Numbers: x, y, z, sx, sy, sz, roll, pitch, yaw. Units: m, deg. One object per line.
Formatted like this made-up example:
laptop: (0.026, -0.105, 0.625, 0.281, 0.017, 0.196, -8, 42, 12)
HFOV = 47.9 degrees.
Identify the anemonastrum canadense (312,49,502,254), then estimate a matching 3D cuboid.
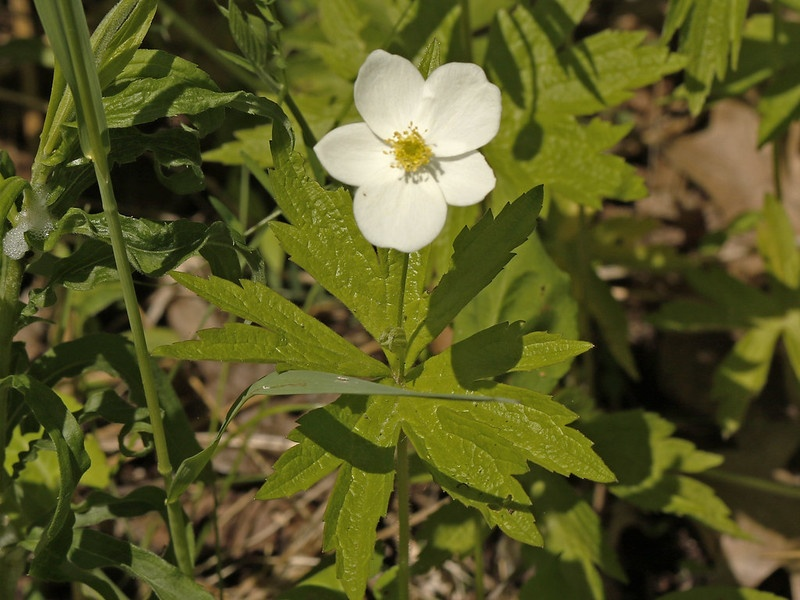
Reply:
anemonastrum canadense: (0.110, -0.548, 3.232, 0.335, 0.936, 0.878, -10, 103, -7)
